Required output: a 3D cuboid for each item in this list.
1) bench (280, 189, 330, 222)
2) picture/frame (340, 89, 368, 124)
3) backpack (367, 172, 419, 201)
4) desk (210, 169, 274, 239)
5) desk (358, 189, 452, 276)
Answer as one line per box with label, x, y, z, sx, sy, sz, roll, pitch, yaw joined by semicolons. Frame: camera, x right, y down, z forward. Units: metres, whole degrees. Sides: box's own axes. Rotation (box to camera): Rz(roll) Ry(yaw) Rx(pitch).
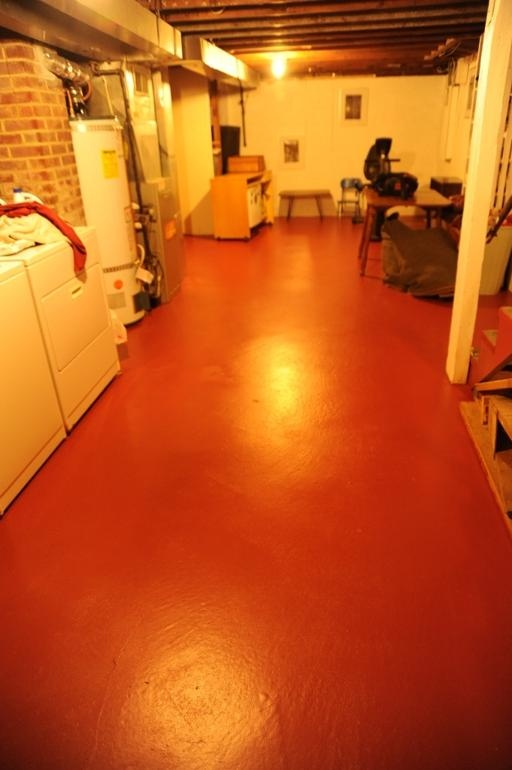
bench;0.915;-3.395;9.652;1.005;0.516;0.681;4;29;8
picture/frame;1.755;-4.975;9.071;0.389;0.567;0.055;0;28;5
backpack;1.619;-2.388;6.081;0.580;0.308;0.474;23;46;32
desk;-0.162;-3.086;8.451;0.539;0.960;1.748;3;32;12
desk;1.774;-1.868;6.235;0.888;0.829;0.786;3;22;11
